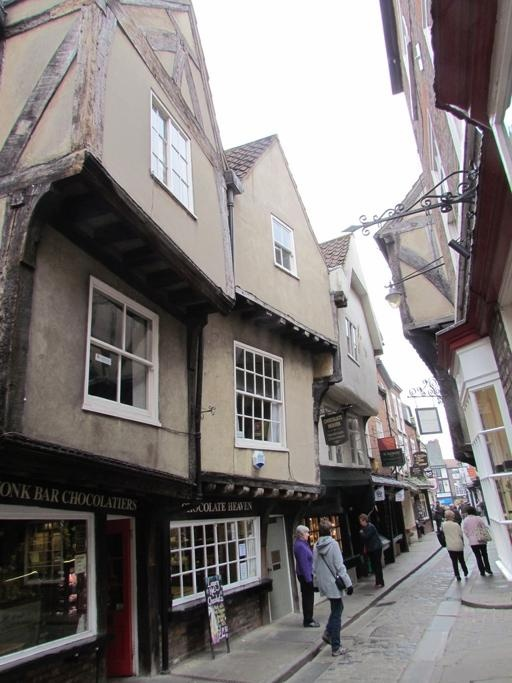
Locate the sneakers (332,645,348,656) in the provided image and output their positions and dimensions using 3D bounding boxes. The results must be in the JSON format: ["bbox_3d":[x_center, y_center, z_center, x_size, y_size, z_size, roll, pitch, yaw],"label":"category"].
[{"bbox_3d":[1.117,4.210,5.920,0.216,0.135,0.086,9,-22,-29],"label":"sneakers"}]

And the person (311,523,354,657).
[{"bbox_3d":[1.090,3.530,6.320,0.472,1.692,0.863,-3,-19,-14],"label":"person"}]

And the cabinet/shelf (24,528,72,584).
[{"bbox_3d":[-1.992,2.066,4.236,0.102,0.528,0.625,-7,-21,1],"label":"cabinet/shelf"}]

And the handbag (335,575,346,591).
[{"bbox_3d":[1.168,3.403,6.131,0.088,0.130,0.224,-7,-66,-9],"label":"handbag"}]

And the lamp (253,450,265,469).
[{"bbox_3d":[0.031,2.169,7.952,0.103,0.327,0.273,-15,-10,22],"label":"lamp"}]

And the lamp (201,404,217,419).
[{"bbox_3d":[-0.746,1.144,7.038,0.177,0.121,0.202,-8,-8,23],"label":"lamp"}]

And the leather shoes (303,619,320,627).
[{"bbox_3d":[1.003,5.143,7.943,0.284,0.173,0.127,-2,-12,7],"label":"leather shoes"}]

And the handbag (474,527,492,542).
[{"bbox_3d":[4.990,4.318,9.670,0.239,0.265,0.346,-21,-23,28],"label":"handbag"}]

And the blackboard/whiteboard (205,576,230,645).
[{"bbox_3d":[-0.578,3.799,6.180,0.144,0.839,0.529,-12,-19,16],"label":"blackboard/whiteboard"}]

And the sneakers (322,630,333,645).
[{"bbox_3d":[0.975,4.174,6.129,0.093,0.163,0.314,-7,-23,-4],"label":"sneakers"}]
